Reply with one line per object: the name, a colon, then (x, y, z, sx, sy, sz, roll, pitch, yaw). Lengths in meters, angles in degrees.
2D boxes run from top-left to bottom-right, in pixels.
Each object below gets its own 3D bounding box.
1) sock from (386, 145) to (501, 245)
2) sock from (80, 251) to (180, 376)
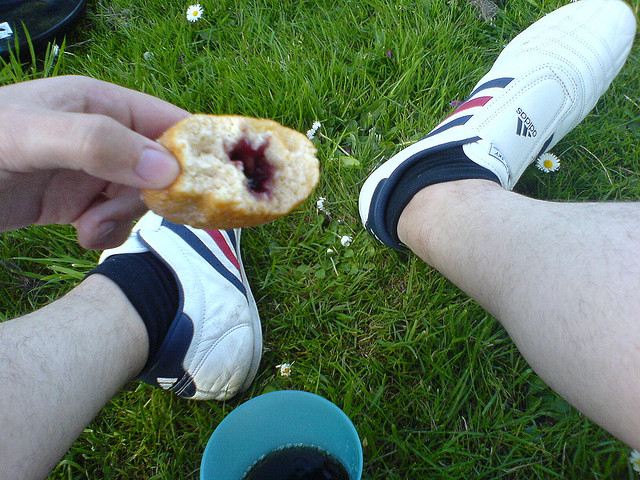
sock: (0.475, -0.271, 2.132, 0.689, 0.280, 0.259, -39, 84, 8)
sock: (-0.711, 0.235, 1.897, 0.291, 0.203, 0.456, -36, 83, -10)
